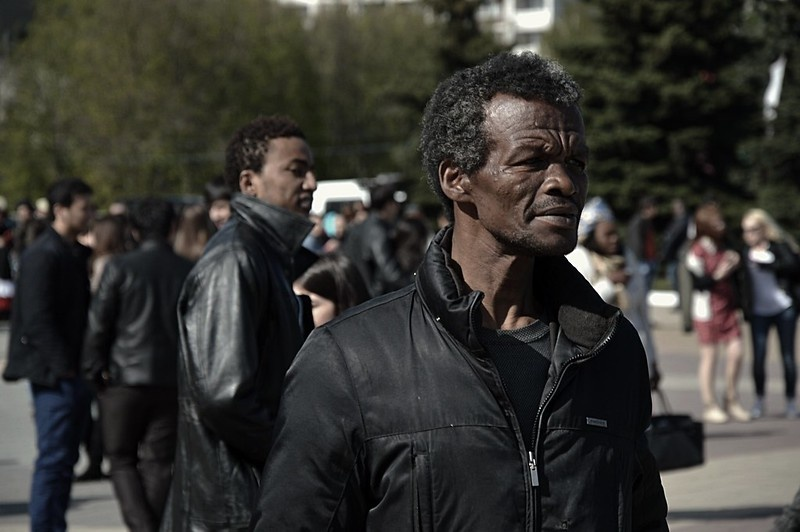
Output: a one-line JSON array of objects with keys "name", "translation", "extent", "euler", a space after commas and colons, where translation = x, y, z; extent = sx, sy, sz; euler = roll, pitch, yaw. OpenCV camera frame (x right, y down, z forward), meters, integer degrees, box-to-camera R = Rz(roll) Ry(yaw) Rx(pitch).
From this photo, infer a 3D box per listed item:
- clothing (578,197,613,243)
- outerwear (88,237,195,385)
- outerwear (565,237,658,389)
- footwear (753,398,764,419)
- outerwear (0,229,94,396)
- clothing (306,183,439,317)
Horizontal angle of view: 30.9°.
[{"name": "clothing", "translation": [1.823, -0.416, 13.659], "extent": [0.291, 0.357, 0.408], "euler": [4, -42, -1]}, {"name": "outerwear", "translation": [-2.156, 0.422, 12.135], "extent": [1.067, 1.246, 0.629], "euler": [4, -5, -28]}, {"name": "outerwear", "translation": [1.682, 0.374, 11.662], "extent": [0.495, 0.612, 1.725], "euler": [-17, -48, 18]}, {"name": "footwear", "translation": [2.768, 1.107, 11.272], "extent": [0.041, 0.163, 0.127], "euler": [2, -6, -39]}, {"name": "outerwear", "translation": [-3.087, 0.394, 12.821], "extent": [0.747, 1.431, 1.515], "euler": [6, -3, 8]}, {"name": "clothing", "translation": [-0.362, -0.229, 16.144], "extent": [0.560, 1.155, 2.059], "euler": [-8, 10, -20]}]
